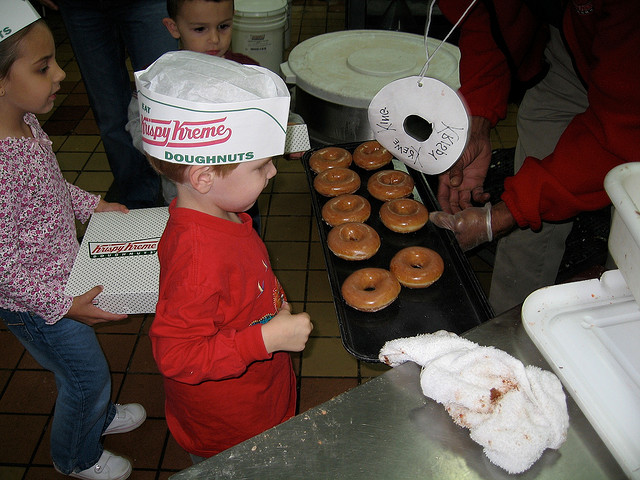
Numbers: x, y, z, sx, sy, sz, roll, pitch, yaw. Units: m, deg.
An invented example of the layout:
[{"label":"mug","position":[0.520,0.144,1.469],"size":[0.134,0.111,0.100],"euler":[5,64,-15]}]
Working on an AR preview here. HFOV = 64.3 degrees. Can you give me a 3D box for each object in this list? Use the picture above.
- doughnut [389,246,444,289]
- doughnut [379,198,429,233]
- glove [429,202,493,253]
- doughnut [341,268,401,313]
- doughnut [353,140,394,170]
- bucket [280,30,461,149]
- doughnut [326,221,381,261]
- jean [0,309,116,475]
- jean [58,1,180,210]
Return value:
[{"label":"doughnut","position":[0.423,0.107,2.208],"size":[0.217,0.097,0.218],"euler":[10,53,2]},{"label":"doughnut","position":[0.407,-0.118,2.396],"size":[0.171,0.070,0.177],"euler":[-26,48,-16]},{"label":"glove","position":[0.668,-0.101,2.376],"size":[0.143,0.252,0.273],"euler":[-10,96,-26]},{"label":"doughnut","position":[0.215,0.197,2.105],"size":[0.178,0.069,0.185],"euler":[-17,39,-12]},{"label":"doughnut","position":[0.280,-0.463,2.753],"size":[0.178,0.076,0.196],"euler":[-36,64,-28]},{"label":"bucket","position":[0.215,-1.138,3.543],"size":[0.934,0.492,1.054],"euler":[31,56,17]},{"label":"doughnut","position":[0.163,0.006,2.376],"size":[0.252,0.097,0.270],"euler":[-13,33,-16]},{"label":"jean","position":[-1.200,0.726,2.318],"size":[0.346,0.820,0.258],"euler":[43,57,17]},{"label":"jean","position":[-1.182,-0.760,2.972],"size":[0.462,1.792,0.457],"euler":[0,68,-11]}]
